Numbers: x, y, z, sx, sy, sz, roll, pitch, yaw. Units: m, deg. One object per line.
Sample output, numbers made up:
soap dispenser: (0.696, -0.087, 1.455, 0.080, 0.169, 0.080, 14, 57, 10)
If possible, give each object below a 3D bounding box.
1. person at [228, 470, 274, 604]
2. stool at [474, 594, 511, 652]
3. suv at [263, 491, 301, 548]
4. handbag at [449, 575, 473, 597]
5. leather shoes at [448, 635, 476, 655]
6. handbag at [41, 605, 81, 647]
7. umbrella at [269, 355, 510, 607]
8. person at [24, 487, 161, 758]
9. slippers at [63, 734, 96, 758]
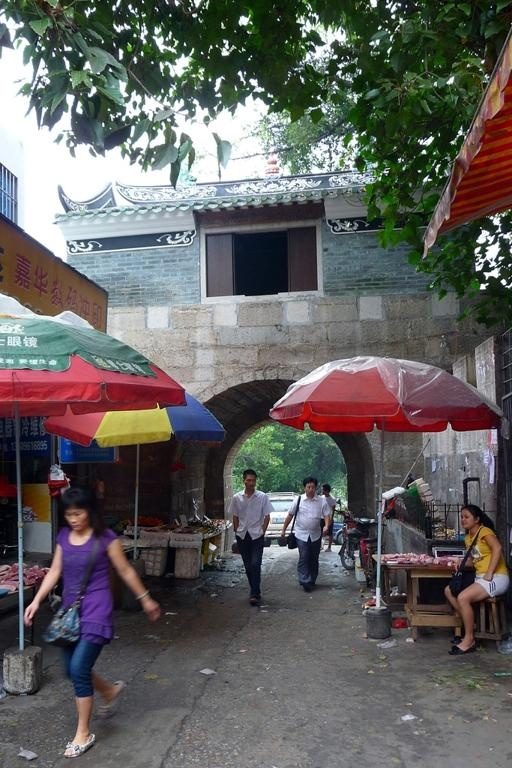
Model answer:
person: (-0.061, 1.867, 8.337, 0.478, 1.623, 0.876, -2, -2, 0)
stool: (1.897, 1.918, 5.516, 0.261, 0.391, 0.184, -2, -2, 18)
suv: (0.685, 4.270, 20.647, 1.491, 1.302, 3.130, 0, -2, 6)
handbag: (1.687, 1.658, 5.647, 0.153, 0.077, 0.204, -14, 0, 12)
leather shoes: (1.629, 2.113, 5.456, 0.301, 0.112, 0.096, 3, -10, -7)
handbag: (-1.053, 1.318, 3.688, 0.203, 0.218, 0.120, -3, -2, 23)
umbrella: (1.067, 0.909, 6.018, 1.765, 2.275, 1.612, -1, -2, -6)
person: (-0.928, 1.298, 3.934, 0.593, 1.406, 0.477, 0, -3, -38)
slippers: (-0.952, 1.949, 3.679, 0.106, 0.065, 0.201, -2, -3, 19)
